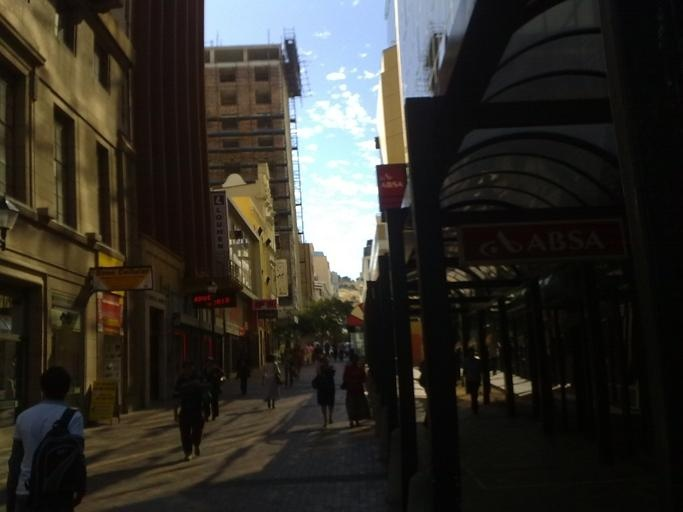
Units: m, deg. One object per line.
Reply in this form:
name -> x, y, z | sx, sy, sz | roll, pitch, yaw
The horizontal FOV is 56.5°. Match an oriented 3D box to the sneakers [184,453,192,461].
sneakers -> -2.792, 3.677, 11.598 | 0.100, 0.112, 0.188 | -1, -7, -9

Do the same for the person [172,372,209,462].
person -> -2.853, 2.990, 12.098 | 0.578, 1.697, 0.951 | -1, -14, -13

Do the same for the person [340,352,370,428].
person -> 0.377, 3.198, 15.699 | 0.658, 1.762, 0.503 | 0, 16, -1
